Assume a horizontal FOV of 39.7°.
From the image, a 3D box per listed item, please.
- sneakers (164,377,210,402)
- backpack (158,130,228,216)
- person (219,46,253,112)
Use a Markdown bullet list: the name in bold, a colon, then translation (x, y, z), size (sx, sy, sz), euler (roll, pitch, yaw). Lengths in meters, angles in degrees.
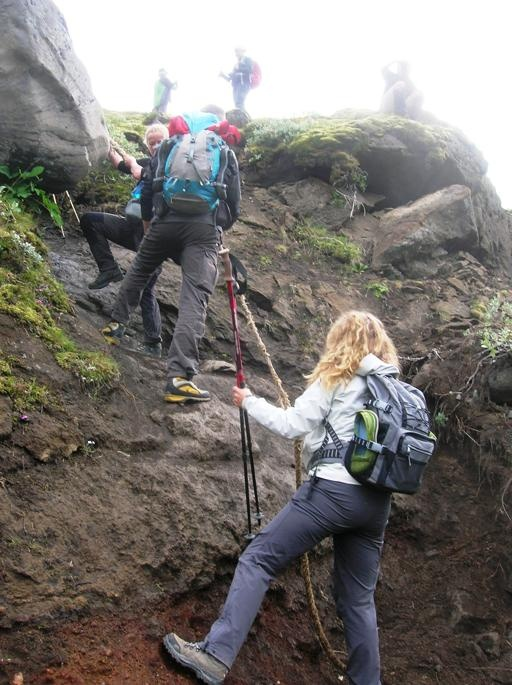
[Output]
- **sneakers**: translation (-0.592, 0.404, 5.889), size (0.426, 0.194, 0.157), euler (4, -1, -29)
- **backpack**: translation (-0.488, -1.423, 5.816), size (0.492, 0.675, 0.251), euler (6, -1, -7)
- **person**: translation (-0.381, -5.772, 15.626), size (0.604, 1.326, 0.783), euler (6, -1, -3)
